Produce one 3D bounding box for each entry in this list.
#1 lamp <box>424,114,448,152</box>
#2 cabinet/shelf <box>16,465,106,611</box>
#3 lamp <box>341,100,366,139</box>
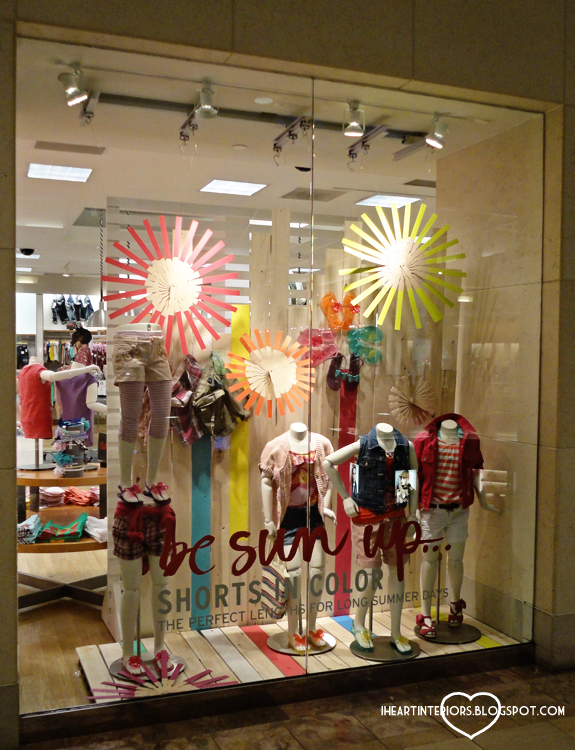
[{"bbox_3d":[0.652,-1.072,2.837,0.112,0.152,0.025,-1,1,-33],"label":"lamp"},{"bbox_3d":[-0.929,0.656,2.618,0.318,0.629,0.690,-1,1,-23],"label":"cabinet/shelf"},{"bbox_3d":[0.280,-1.062,2.680,0.109,0.155,0.032,-1,1,-41],"label":"lamp"}]
